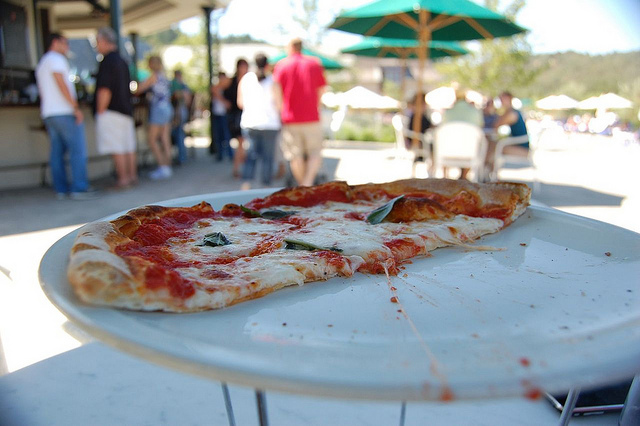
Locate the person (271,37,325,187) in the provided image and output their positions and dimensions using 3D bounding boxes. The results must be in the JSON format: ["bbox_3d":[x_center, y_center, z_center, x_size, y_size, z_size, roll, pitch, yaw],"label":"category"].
[{"bbox_3d":[-0.232,-1.163,5.745,0.595,1.673,0.408,3,15,10],"label":"person"}]

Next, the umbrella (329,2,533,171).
[{"bbox_3d":[1.301,-1.633,6.913,2.202,2.278,2.858,-3,13,-13],"label":"umbrella"}]
